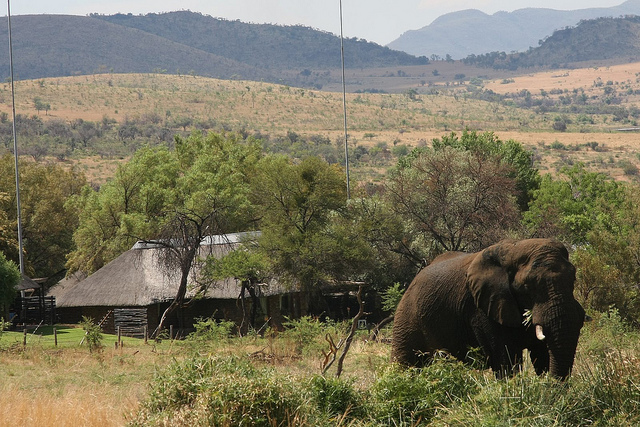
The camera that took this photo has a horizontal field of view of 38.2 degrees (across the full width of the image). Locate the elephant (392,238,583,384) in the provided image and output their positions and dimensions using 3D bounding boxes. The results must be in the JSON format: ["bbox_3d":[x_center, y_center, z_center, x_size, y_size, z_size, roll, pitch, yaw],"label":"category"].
[{"bbox_3d":[8.745,5.817,51.727,5.836,8.650,11.939,-5,3,-43],"label":"elephant"}]
